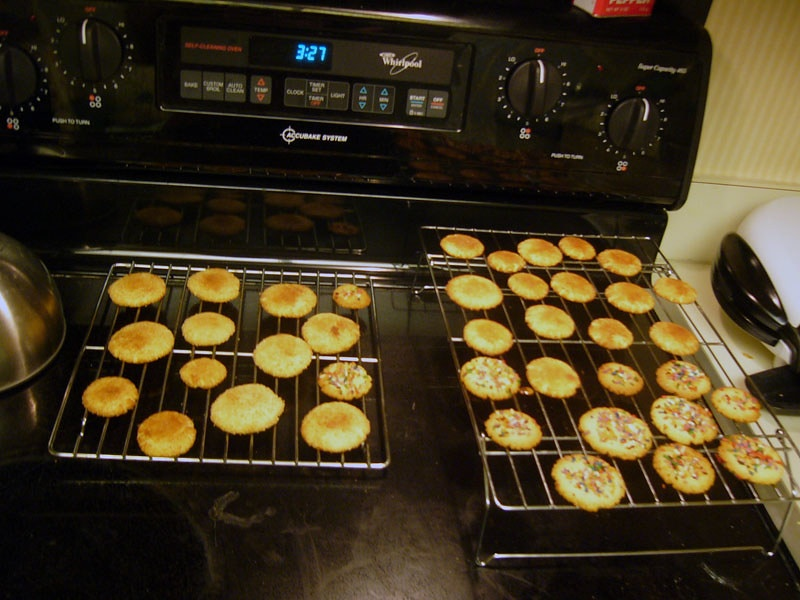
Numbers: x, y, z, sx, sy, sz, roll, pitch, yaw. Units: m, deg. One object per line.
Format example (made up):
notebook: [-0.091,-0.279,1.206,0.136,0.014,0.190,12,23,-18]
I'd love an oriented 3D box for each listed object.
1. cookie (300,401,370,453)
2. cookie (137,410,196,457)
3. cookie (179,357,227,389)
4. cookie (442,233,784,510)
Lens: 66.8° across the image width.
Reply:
cookie: [-0.097,0.188,0.904,0.093,0.017,0.084,19,40,14]
cookie: [-0.334,0.193,0.869,0.079,0.023,0.070,-1,40,-10]
cookie: [-0.312,0.115,0.957,0.069,0.018,0.056,18,40,13]
cookie: [0.362,0.095,1.064,0.564,0.103,0.626,1,39,-8]
